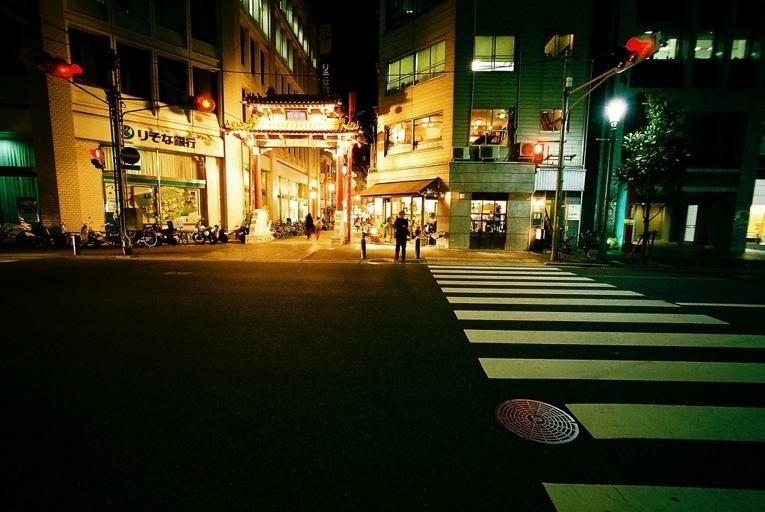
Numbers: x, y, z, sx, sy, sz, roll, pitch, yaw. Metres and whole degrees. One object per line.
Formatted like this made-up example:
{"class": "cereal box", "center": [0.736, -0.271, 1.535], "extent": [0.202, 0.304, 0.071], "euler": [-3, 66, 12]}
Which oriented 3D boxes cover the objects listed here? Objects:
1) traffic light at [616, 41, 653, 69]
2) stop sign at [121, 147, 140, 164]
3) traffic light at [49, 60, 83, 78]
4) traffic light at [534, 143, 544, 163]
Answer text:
{"class": "traffic light", "center": [10.361, -8.344, 23.779], "extent": [1.233, 1.216, 0.726], "euler": [5, 8, 24]}
{"class": "stop sign", "center": [-12.618, -5.041, 28.960], "extent": [0.783, 0.748, 0.535], "euler": [-2, 8, -30]}
{"class": "traffic light", "center": [-14.039, -8.204, 25.869], "extent": [1.015, 0.429, 1.219], "euler": [0, 5, -8]}
{"class": "traffic light", "center": [7.770, -5.214, 29.321], "extent": [0.426, 0.884, 0.354], "euler": [1, 7, -4]}
